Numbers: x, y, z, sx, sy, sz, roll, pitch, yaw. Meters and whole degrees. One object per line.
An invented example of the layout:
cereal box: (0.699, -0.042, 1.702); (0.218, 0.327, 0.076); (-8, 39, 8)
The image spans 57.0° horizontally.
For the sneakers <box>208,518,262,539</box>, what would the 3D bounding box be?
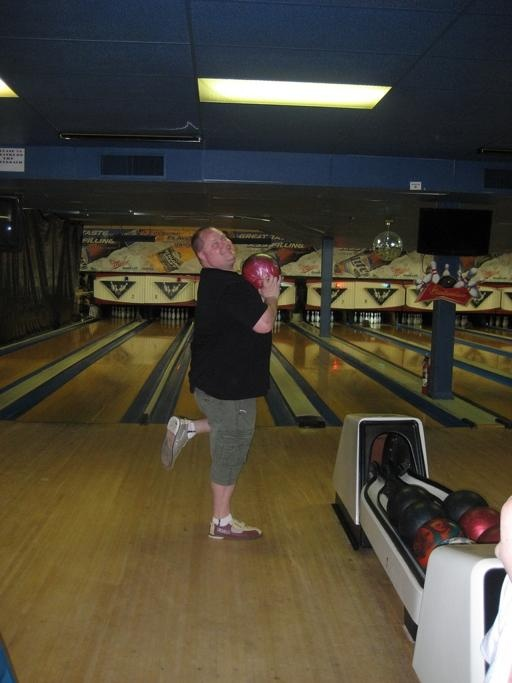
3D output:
sneakers: (-0.078, 0.709, 1.838); (0.209, 0.085, 0.076); (1, -4, -5)

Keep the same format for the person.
person: (-0.104, 0.167, 1.820); (0.310, 1.179, 0.570); (0, 5, -19)

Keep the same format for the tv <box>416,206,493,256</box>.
tv: (1.770, -0.991, 4.218); (0.552, 0.390, 0.074); (1, 8, 0)

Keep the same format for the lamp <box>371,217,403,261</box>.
lamp: (1.792, -1.379, 6.453); (0.432, 0.547, 0.429); (-4, 8, -28)
